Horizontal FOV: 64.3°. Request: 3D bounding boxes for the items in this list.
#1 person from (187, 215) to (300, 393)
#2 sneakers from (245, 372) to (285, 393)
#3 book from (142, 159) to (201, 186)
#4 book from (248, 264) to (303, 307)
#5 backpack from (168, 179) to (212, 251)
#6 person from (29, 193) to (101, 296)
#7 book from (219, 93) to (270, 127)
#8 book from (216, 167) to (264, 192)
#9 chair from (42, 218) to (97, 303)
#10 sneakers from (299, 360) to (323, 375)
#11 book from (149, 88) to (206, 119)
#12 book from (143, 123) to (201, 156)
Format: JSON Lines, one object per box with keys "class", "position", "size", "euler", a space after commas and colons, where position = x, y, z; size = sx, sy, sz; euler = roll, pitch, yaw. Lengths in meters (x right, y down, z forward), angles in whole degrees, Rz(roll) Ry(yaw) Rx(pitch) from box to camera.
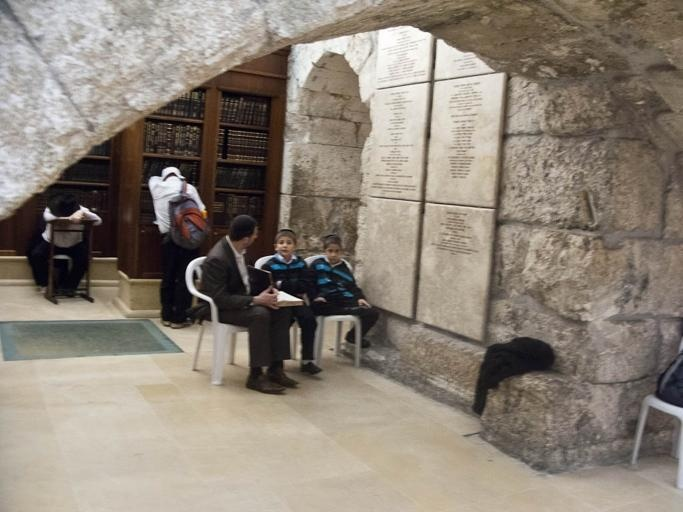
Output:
{"class": "person", "position": [-0.624, 0.317, 3.810], "size": [0.794, 1.191, 0.344], "euler": [13, 12, 23]}
{"class": "sneakers", "position": [-0.539, 0.880, 3.801], "size": [0.334, 0.083, 0.112], "euler": [1, 2, 28]}
{"class": "book", "position": [-1.745, -0.859, 5.515], "size": [0.795, 0.178, 0.623], "euler": [-2, 19, -23]}
{"class": "book", "position": [-0.462, 0.190, 3.865], "size": [0.364, 0.300, 0.459], "euler": [-2, 5, -32]}
{"class": "backpack", "position": [-1.476, -0.371, 5.112], "size": [0.440, 0.538, 0.372], "euler": [10, 23, 11]}
{"class": "person", "position": [-3.011, -0.153, 6.024], "size": [0.799, 0.895, 0.650], "euler": [-3, 0, -12]}
{"class": "book", "position": [-1.081, -1.610, 5.960], "size": [0.576, 0.236, 0.026], "euler": [1, 4, -25]}
{"class": "book", "position": [-1.041, -0.844, 6.233], "size": [0.652, 0.236, 0.547], "euler": [1, -4, -2]}
{"class": "chair", "position": [-2.952, 0.019, 5.937], "size": [0.490, 0.885, 0.911], "euler": [3, 11, -26]}
{"class": "sneakers", "position": [-0.237, 0.846, 4.118], "size": [0.181, 0.057, 0.088], "euler": [2, 7, 30]}
{"class": "book", "position": [-1.648, -1.595, 5.602], "size": [0.470, 0.339, 0.151], "euler": [-2, 16, -39]}
{"class": "book", "position": [-1.737, -1.251, 5.905], "size": [0.710, 0.288, 0.655], "euler": [-1, 8, -20]}
